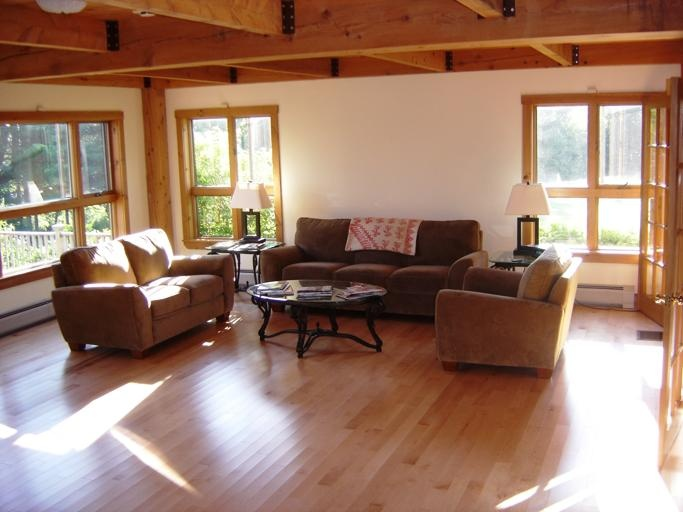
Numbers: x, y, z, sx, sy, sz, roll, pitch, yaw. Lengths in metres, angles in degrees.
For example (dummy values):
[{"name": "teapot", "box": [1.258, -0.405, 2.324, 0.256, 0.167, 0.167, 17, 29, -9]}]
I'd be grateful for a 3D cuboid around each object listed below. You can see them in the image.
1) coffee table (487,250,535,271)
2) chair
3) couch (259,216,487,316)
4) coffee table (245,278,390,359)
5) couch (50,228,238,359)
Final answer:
[{"name": "coffee table", "box": [1.953, 0.048, 6.426, 0.361, 0.076, 0.356, -11, 13, -42]}, {"name": "chair", "box": [1.598, 0.396, 5.242, 1.387, 1.032, 1.265, 1, 5, 19]}, {"name": "couch", "box": [0.419, 0.098, 6.990, 2.662, 0.976, 0.968, 2, 18, 24]}, {"name": "coffee table", "box": [-0.324, 0.583, 6.061, 1.349, 0.633, 1.531, -5, 13, -14]}, {"name": "couch", "box": [-2.157, 0.339, 6.188, 1.116, 1.003, 1.743, 5, 13, 19]}]
